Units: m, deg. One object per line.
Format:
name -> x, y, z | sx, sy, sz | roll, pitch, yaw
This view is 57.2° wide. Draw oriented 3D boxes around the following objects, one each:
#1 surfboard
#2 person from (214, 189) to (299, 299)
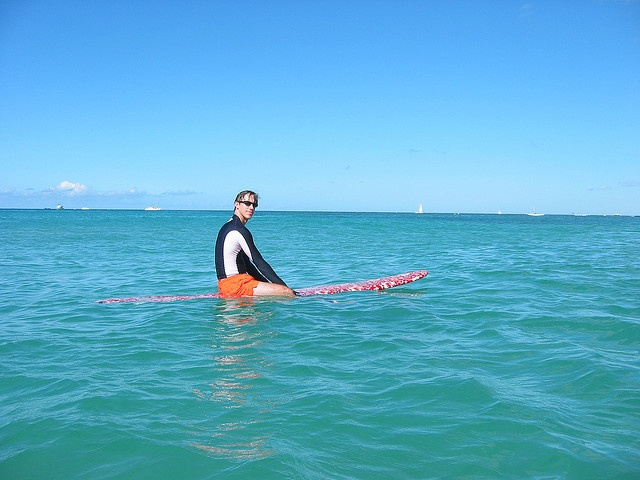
surfboard -> -1.308, 1.099, 13.464 | 6.131, 0.201, 0.654 | -2, 24, -12
person -> -1.441, 0.091, 12.209 | 1.489, 2.211, 0.621 | 3, 7, 0
